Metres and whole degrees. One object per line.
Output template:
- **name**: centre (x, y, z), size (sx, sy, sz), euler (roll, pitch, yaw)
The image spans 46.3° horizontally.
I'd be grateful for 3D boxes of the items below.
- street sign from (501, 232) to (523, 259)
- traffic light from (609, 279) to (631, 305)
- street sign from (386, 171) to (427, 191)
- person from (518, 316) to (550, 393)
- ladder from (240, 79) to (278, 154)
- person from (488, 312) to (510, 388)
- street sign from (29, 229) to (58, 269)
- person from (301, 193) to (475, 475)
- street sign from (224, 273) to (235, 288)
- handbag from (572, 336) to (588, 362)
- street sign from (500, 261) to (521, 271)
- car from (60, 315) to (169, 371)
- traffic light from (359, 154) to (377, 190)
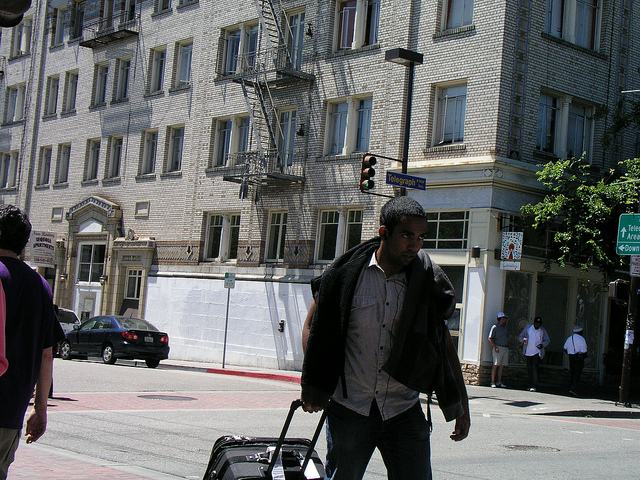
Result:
- **street sign**: centre (5.491, 0.152, 21.472), size (0.732, 1.021, 0.068), euler (0, -6, 37)
- **traffic light**: centre (7.700, 1.275, 19.201), size (0.855, 0.517, 0.307), euler (5, -6, -34)
- **street sign**: centre (2.162, -1.505, 18.922), size (0.346, 0.372, 1.298), euler (-2, -7, 41)
- **person**: centre (6.148, 3.279, 21.577), size (0.755, 2.119, 1.281), euler (1, -5, 11)
- **ladder**: centre (-2.395, -4.760, 28.351), size (1.322, 2.818, 1.505), euler (3, -5, -15)
- **person**: centre (5.160, 3.199, 21.675), size (0.560, 2.158, 1.128), euler (1, -5, 13)
- **street sign**: centre (-9.908, 0.280, 26.680), size (0.784, 1.300, 1.468), euler (4, -5, -24)
- **person**: centre (0.456, 0.643, 5.243), size (1.151, 1.959, 0.325), euler (2, -4, -2)
- **street sign**: centre (-2.977, 1.308, 24.425), size (0.274, 0.480, 0.587), euler (2, -5, -6)
- **handbag**: centre (7.233, 3.086, 20.935), size (0.370, 0.552, 0.249), euler (-2, 7, 10)
- **street sign**: centre (5.525, 0.733, 21.790), size (0.253, 0.245, 0.713), euler (5, -6, -31)
- **car**: centre (-6.868, 3.306, 24.797), size (3.218, 1.524, 1.326), euler (-1, -6, 32)
- **traffic light**: centre (1.175, -1.682, 18.600), size (0.344, 0.861, 0.834), euler (1, -5, 4)
